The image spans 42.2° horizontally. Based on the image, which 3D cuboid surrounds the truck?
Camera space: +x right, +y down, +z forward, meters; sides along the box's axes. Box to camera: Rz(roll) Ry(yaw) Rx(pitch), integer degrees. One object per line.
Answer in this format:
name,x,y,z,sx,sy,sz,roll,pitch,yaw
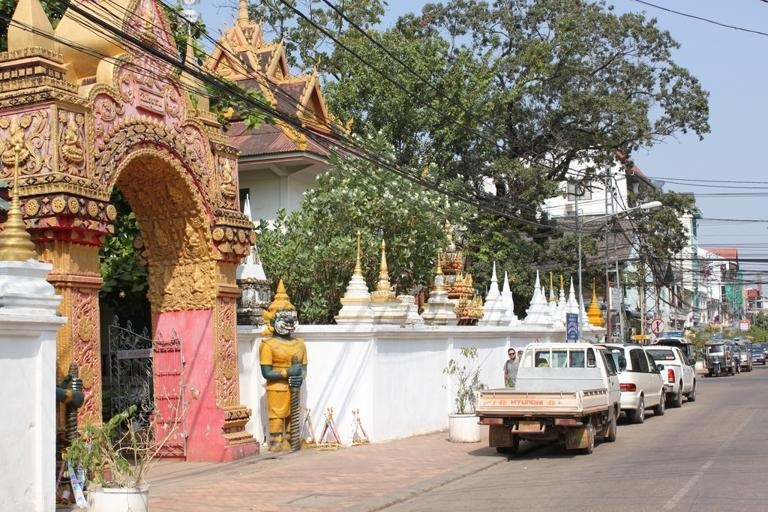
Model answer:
truck,4.112,3.314,23.163,1.935,1.828,3.637,-3,-3,28
